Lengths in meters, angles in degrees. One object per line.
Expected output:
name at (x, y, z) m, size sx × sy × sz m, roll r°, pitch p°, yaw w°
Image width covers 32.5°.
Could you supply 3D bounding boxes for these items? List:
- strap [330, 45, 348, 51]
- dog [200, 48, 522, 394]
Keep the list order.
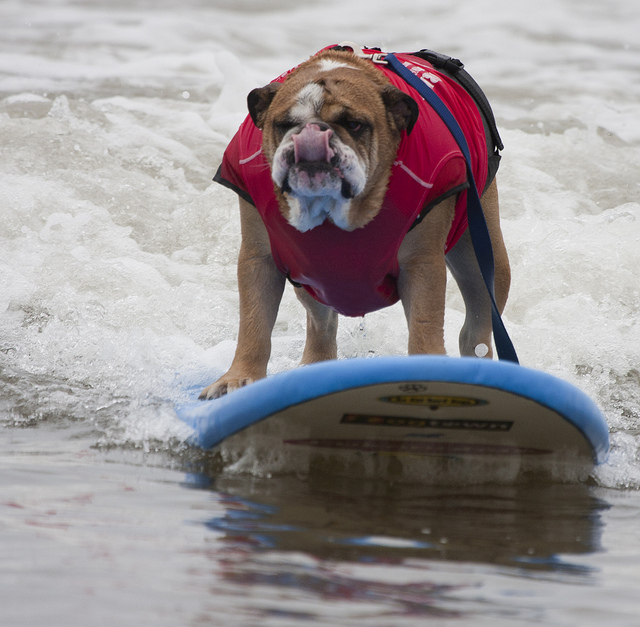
strap at (0.071, -1.024, 4.259) m, size 0.046 × 0.007 × 0.036 m, roll 4°, pitch 2°, yaw 3°
dog at (0.163, -0.260, 4.528) m, size 1.188 × 1.681 × 1.171 m, roll 1°, pitch 41°, yaw 9°
